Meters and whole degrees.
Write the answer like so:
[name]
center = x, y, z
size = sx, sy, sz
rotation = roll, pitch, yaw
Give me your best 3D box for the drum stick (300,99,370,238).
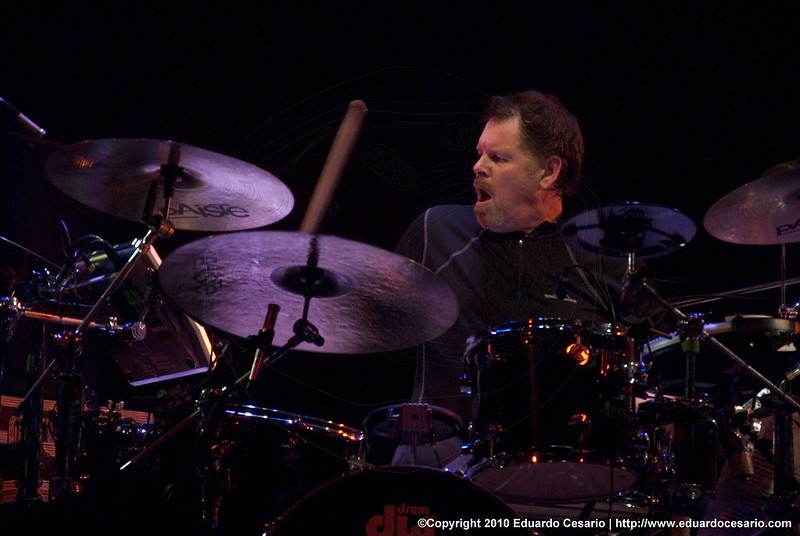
[drum stick]
center = -0.274, -0.441, 3.586
size = 0.098, 0.651, 0.087
rotation = 17, 18, -37
